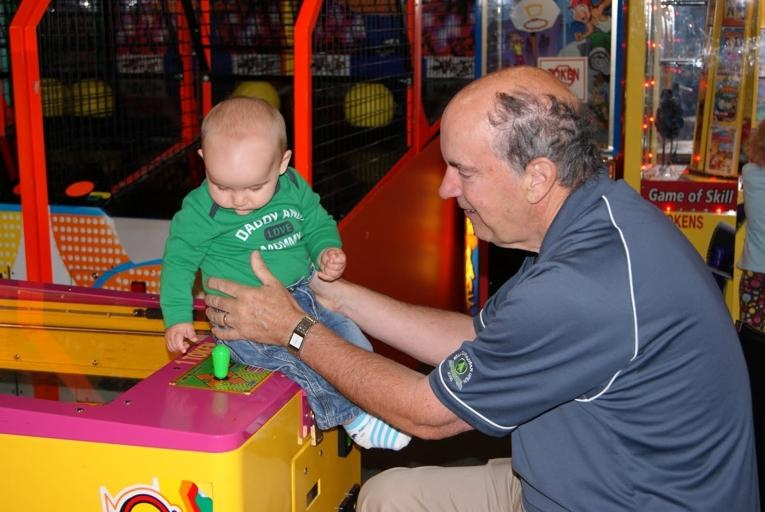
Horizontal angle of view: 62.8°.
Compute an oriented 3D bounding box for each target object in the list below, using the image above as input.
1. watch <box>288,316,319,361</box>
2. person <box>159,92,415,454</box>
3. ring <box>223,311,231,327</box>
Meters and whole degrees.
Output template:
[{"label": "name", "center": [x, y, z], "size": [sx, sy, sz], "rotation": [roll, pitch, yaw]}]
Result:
[{"label": "watch", "center": [-0.232, 0.234, 1.817], "size": [0.051, 0.092, 0.084], "rotation": [34, 9, 9]}, {"label": "person", "center": [-0.263, 0.058, 1.979], "size": [0.770, 1.031, 0.615], "rotation": [26, 42, 27]}, {"label": "ring", "center": [-0.471, 0.187, 1.888], "size": [0.012, 0.036, 0.025], "rotation": [2, -6, -4]}]
